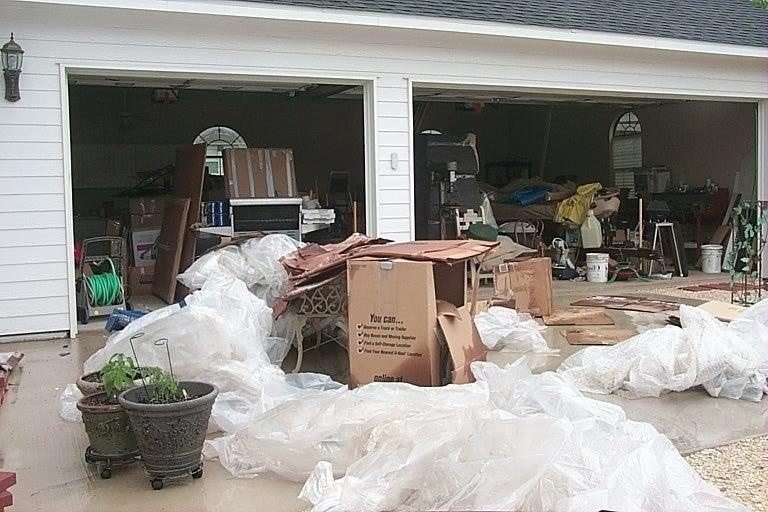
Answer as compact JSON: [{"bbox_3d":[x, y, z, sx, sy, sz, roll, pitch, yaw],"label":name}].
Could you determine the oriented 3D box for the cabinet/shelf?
[{"bbox_3d":[-6.364,-2.162,14.161,2.085,1.040,0.244,-3,11,-12],"label":"cabinet/shelf"}]

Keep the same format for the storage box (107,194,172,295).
[{"bbox_3d":[-3.927,-0.136,9.525,0.968,1.675,1.683,-3,3,-21],"label":"storage box"}]

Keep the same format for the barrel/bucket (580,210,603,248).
[{"bbox_3d":[3.791,-0.501,10.778,0.309,0.640,0.295,-1,11,0],"label":"barrel/bucket"}]

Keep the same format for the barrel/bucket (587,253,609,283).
[{"bbox_3d":[3.671,0.220,10.230,0.435,0.465,0.449,0,-1,0],"label":"barrel/bucket"}]

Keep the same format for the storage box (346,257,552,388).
[{"bbox_3d":[0.415,0.582,5.202,0.971,1.266,1.256,-2,-4,25],"label":"storage box"}]

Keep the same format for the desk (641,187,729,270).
[{"bbox_3d":[6.506,-0.589,12.229,0.542,1.477,1.533,2,3,11],"label":"desk"}]

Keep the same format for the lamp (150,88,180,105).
[{"bbox_3d":[-5.045,-3.673,13.528,0.607,0.281,1.892,-5,11,-18],"label":"lamp"}]

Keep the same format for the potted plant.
[{"bbox_3d":[-1.612,1.119,4.229,0.793,0.968,0.921,1,-3,-18],"label":"potted plant"}]
